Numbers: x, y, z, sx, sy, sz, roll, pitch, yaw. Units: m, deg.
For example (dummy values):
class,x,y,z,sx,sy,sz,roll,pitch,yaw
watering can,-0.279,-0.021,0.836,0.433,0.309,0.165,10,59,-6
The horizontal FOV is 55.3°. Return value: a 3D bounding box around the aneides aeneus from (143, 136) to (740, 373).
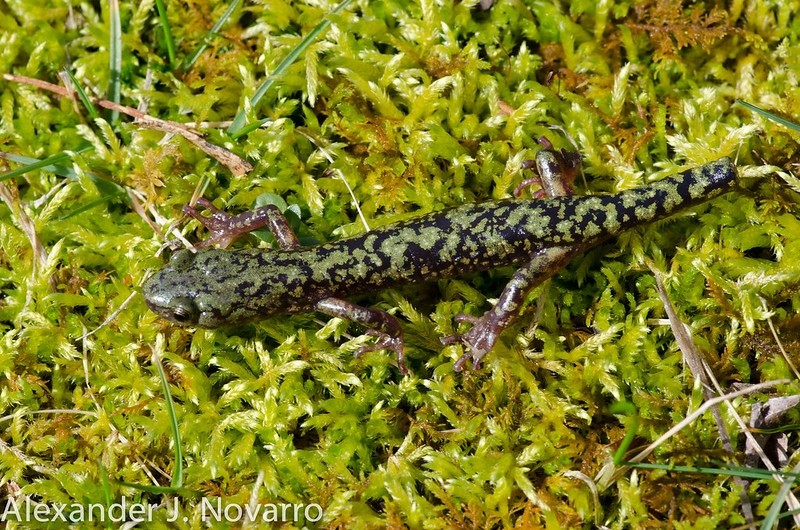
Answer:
class,x,y,z,sx,sy,sz,roll,pitch,yaw
aneides aeneus,0.332,-0.137,6.074,4.673,1.871,0.531,-7,71,-18
